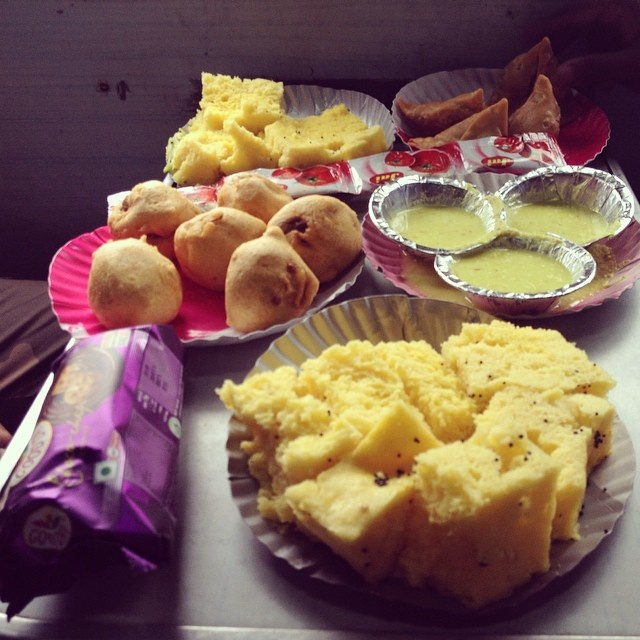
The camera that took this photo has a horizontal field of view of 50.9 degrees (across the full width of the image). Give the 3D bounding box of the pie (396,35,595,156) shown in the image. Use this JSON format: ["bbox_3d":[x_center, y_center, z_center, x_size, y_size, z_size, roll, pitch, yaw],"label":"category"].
[{"bbox_3d":[0.388,-0.533,1.590,0.427,0.195,0.429,0,41,4],"label":"pie"}]

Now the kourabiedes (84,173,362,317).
[{"bbox_3d":[-0.155,-0.118,1.151,0.455,0.145,0.339,-2,41,2],"label":"kourabiedes"}]

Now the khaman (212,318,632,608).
[{"bbox_3d":[0.149,0.138,0.790,0.455,0.124,0.360,-19,43,-18],"label":"khaman"}]
